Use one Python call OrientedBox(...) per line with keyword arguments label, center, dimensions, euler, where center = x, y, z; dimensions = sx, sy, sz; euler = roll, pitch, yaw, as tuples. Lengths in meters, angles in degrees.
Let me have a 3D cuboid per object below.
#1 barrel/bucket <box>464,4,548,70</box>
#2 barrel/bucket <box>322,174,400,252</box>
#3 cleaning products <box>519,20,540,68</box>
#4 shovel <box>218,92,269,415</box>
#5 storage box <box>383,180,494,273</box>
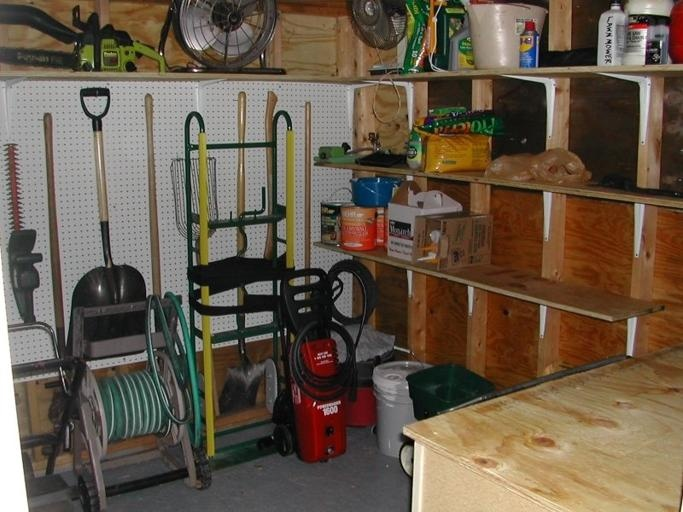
OrientedBox(label="barrel/bucket", center=(0.766, -0.988, 3.036), dimensions=(0.334, 0.239, 0.335), euler=(-1, 9, 0))
OrientedBox(label="barrel/bucket", center=(0.115, -0.279, 3.935), dimensions=(0.492, 0.372, 0.427), euler=(7, 13, 33))
OrientedBox(label="cleaning products", center=(0.858, -0.975, 2.960), dimensions=(0.087, 0.212, 0.199), euler=(-2, 13, 17))
OrientedBox(label="shovel", center=(-0.583, 0.049, 3.950), dimensions=(0.261, 1.769, 0.438), euler=(9, 10, 27))
OrientedBox(label="storage box", center=(0.487, -0.156, 3.566), dimensions=(0.624, 0.575, 0.427), euler=(-4, 10, -36))
